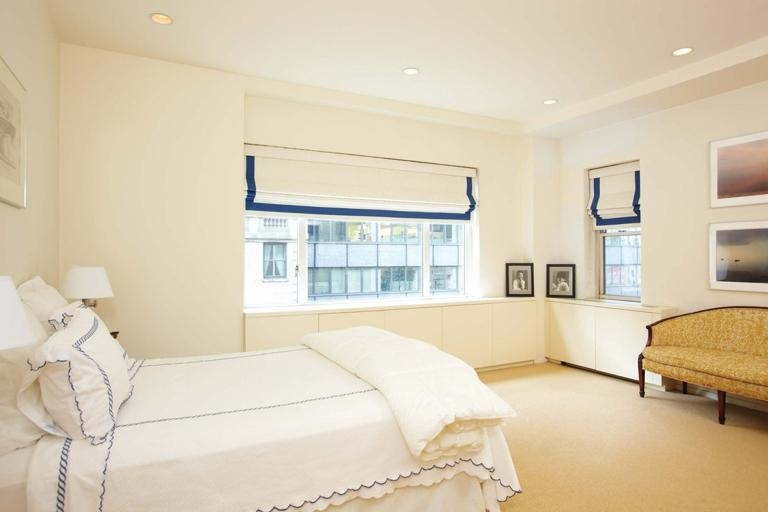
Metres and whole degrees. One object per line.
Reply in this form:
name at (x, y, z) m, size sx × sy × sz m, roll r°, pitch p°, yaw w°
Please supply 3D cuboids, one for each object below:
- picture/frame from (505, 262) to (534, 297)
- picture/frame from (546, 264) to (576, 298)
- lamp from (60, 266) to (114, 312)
picture/frame at (1.841, 0.332, 6.661) m, size 0.436 × 0.556 × 0.038 m, roll 0°, pitch -7°, yaw 2°
picture/frame at (2.387, 0.342, 6.678) m, size 0.370 × 0.504 × 0.036 m, roll -1°, pitch -31°, yaw 19°
lamp at (-2.630, 0.232, 4.412) m, size 0.391 × 0.482 × 0.417 m, roll 5°, pitch 7°, yaw 34°
